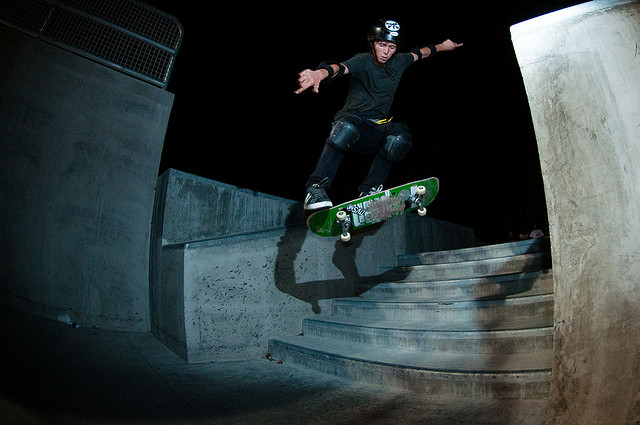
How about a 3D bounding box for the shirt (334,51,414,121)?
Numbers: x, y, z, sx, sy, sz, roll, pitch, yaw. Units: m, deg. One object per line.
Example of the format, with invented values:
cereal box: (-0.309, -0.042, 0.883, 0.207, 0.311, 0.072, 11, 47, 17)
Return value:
shirt: (0.716, -1.723, 7.029, 0.998, 1.035, 0.390, 3, -10, -18)
